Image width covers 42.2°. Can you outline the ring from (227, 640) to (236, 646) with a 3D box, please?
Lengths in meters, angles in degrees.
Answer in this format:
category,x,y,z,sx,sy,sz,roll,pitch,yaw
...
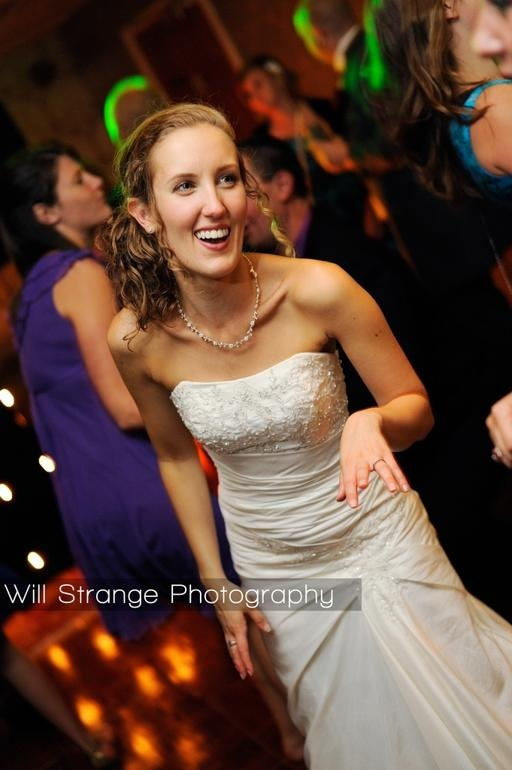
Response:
category,x,y,z,sx,sy,sz,roll,pitch,yaw
ring,-0.056,0.593,1.529,0.019,0.005,0.017,-17,64,41
